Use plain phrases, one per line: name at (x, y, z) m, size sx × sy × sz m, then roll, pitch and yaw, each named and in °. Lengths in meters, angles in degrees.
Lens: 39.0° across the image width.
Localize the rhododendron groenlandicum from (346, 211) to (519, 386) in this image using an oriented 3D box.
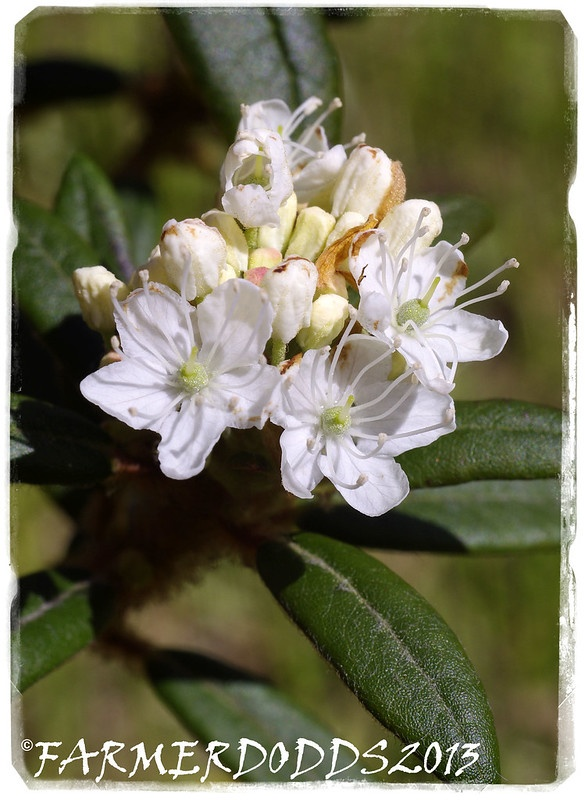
rhododendron groenlandicum at (0.213, -0.169, 1.359) m, size 0.319 × 0.166 × 0.214 m, roll 13°, pitch 13°, yaw 5°

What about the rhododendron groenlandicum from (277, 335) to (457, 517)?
rhododendron groenlandicum at (0.084, 0.017, 1.263) m, size 0.267 × 0.138 × 0.323 m, roll 32°, pitch 36°, yaw -7°

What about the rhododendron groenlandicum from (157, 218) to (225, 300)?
rhododendron groenlandicum at (-0.145, -0.214, 1.218) m, size 0.104 × 0.113 × 0.077 m, roll -3°, pitch 21°, yaw 0°
